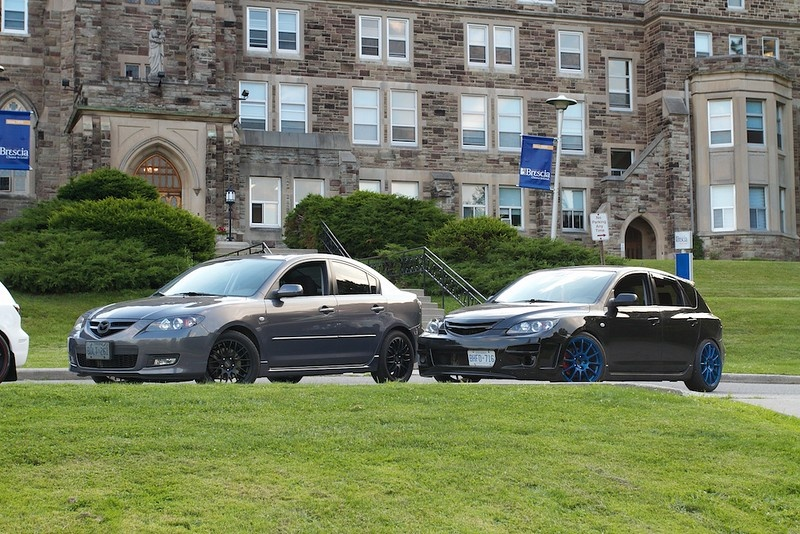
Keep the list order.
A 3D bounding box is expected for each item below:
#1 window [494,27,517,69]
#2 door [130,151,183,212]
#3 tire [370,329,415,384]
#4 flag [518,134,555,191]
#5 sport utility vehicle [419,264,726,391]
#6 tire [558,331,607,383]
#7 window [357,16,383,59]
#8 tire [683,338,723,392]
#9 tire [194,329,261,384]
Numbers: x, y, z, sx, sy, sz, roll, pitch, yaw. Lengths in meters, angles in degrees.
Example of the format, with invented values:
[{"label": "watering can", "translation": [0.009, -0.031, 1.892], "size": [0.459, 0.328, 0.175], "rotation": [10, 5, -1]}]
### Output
[{"label": "window", "translation": [4.705, -10.115, 50.154], "size": [1.129, 1.984, 0.187], "rotation": [1, -4, -17]}, {"label": "door", "translation": [-8.993, -3.327, 41.199], "size": [1.610, 2.034, 0.519], "rotation": [2, 0, -16]}, {"label": "tire", "translation": [-0.106, 1.599, 19.044], "size": [0.854, 0.828, 0.298], "rotation": [3, -4, -44]}, {"label": "flag", "translation": [4.706, -3.632, 38.105], "size": [1.064, 1.852, 0.803], "rotation": [2, 0, -3]}, {"label": "sport utility vehicle", "translation": [3.146, 1.110, 18.794], "size": [4.052, 1.524, 2.477], "rotation": [7, -9, -36]}, {"label": "tire", "translation": [2.914, 1.463, 17.841], "size": [0.828, 0.802, 0.285], "rotation": [2, -6, -28]}, {"label": "window", "translation": [-1.350, -10.192, 48.504], "size": [1.097, 1.968, 0.156], "rotation": [0, -2, -15]}, {"label": "tire", "translation": [5.310, 1.715, 19.377], "size": [0.749, 0.737, 0.286], "rotation": [31, -29, -34]}, {"label": "tire", "translation": [-2.640, 1.494, 17.288], "size": [0.955, 0.928, 0.330], "rotation": [2, 10, 23]}]
